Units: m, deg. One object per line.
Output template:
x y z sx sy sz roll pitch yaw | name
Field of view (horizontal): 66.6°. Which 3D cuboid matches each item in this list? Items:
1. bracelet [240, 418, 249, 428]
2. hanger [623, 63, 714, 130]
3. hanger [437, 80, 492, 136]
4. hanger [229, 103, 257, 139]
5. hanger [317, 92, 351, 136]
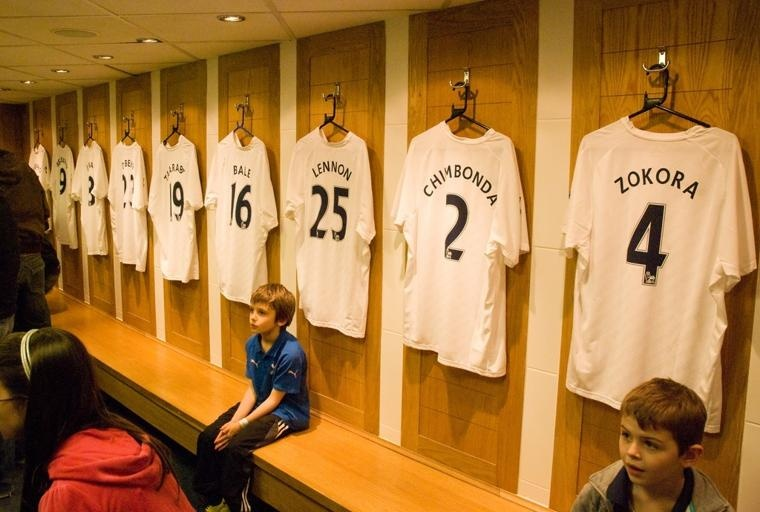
-0.903 1.111 3.833 0.042 0.042 0.053 -5 -30 -45 | bracelet
1.460 -0.822 3.043 0.556 0.385 0.098 -1 21 16 | hanger
0.523 -0.930 3.516 0.299 0.281 0.284 10 41 25 | hanger
-1.085 -1.074 4.614 0.294 0.337 0.118 6 6 34 | hanger
-0.344 -1.017 4.065 0.038 0.303 0.312 21 22 25 | hanger
